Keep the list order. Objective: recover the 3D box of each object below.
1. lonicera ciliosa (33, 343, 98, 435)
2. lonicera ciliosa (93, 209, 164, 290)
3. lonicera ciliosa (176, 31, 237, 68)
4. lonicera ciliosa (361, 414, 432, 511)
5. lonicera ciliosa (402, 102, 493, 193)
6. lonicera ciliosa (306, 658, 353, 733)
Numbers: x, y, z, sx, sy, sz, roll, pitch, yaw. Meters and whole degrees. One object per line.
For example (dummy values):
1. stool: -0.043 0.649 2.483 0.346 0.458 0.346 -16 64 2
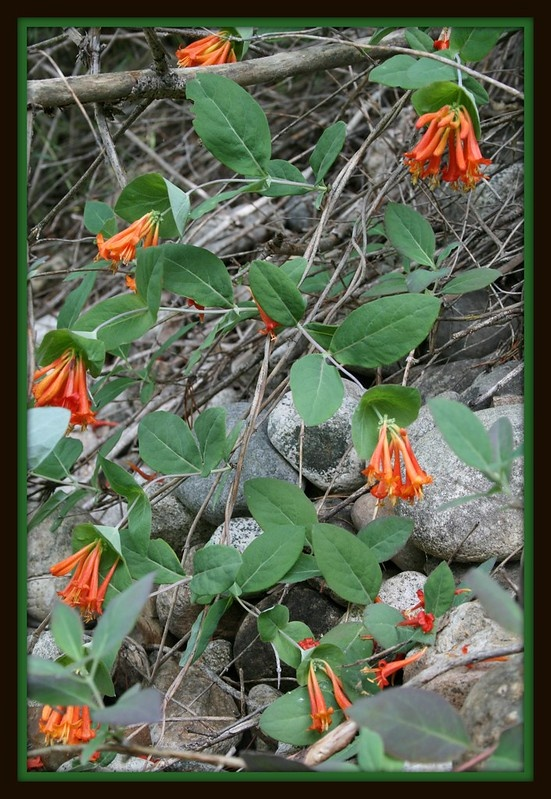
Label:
1. lonicera ciliosa: -0.389 -0.008 1.514 0.103 0.154 0.120 -12 21 -12
2. lonicera ciliosa: -0.258 -0.290 1.615 0.159 0.141 0.084 -15 -15 40
3. lonicera ciliosa: -0.161 -0.797 1.929 0.128 0.064 0.087 -16 52 -38
4. lonicera ciliosa: 0.187 0.111 1.419 0.121 0.142 0.077 -12 -5 -23
5. lonicera ciliosa: 0.351 -0.486 1.642 0.159 0.181 0.097 2 28 18
6. lonicera ciliosa: 0.087 0.497 1.378 0.070 0.087 0.124 -7 20 3
